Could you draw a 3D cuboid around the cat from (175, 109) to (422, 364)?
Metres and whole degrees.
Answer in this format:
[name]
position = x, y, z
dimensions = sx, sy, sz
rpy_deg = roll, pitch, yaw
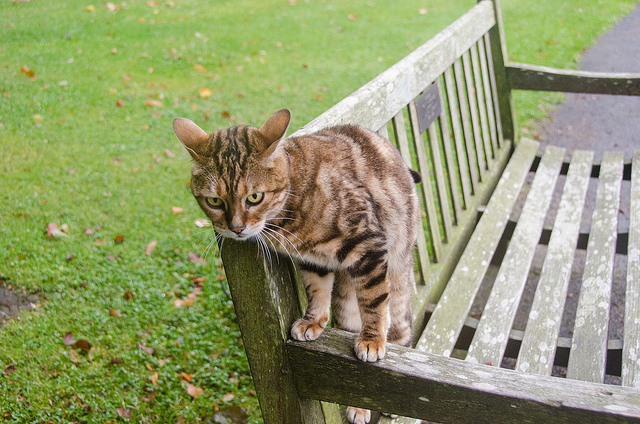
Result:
[cat]
position = 0.234, -0.030, 3.992
dimensions = 0.630, 1.490, 2.449
rpy_deg = -3, 12, 31
